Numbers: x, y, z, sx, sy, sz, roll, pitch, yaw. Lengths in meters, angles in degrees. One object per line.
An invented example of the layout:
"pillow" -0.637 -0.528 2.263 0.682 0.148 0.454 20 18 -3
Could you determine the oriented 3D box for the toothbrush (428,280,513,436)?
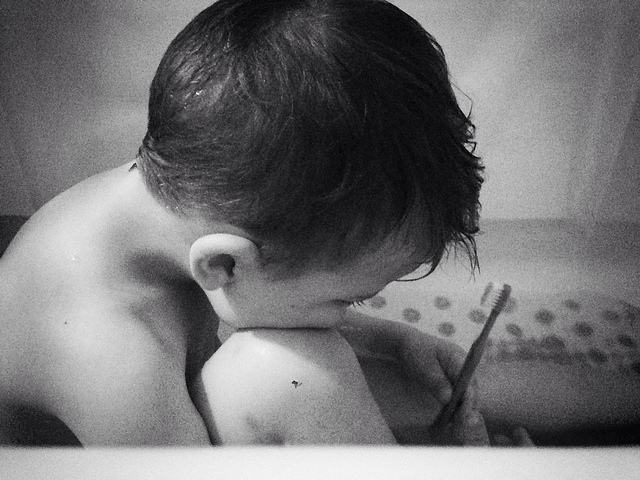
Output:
"toothbrush" 0.437 0.359 2.155 0.061 0.463 0.039 23 1 18
